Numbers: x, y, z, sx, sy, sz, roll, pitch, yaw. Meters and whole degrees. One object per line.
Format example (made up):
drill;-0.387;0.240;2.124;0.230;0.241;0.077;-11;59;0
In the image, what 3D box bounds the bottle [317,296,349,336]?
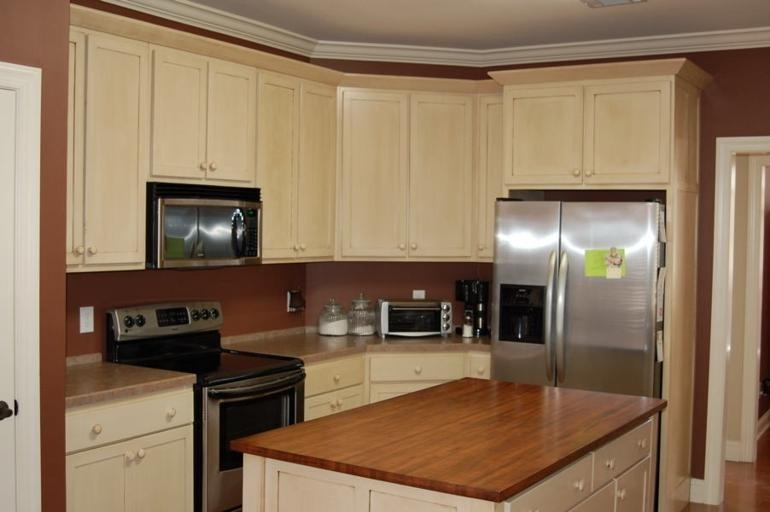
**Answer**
bottle;-0.440;0.552;5.314;0.262;0.292;0.259;0;-3;1
